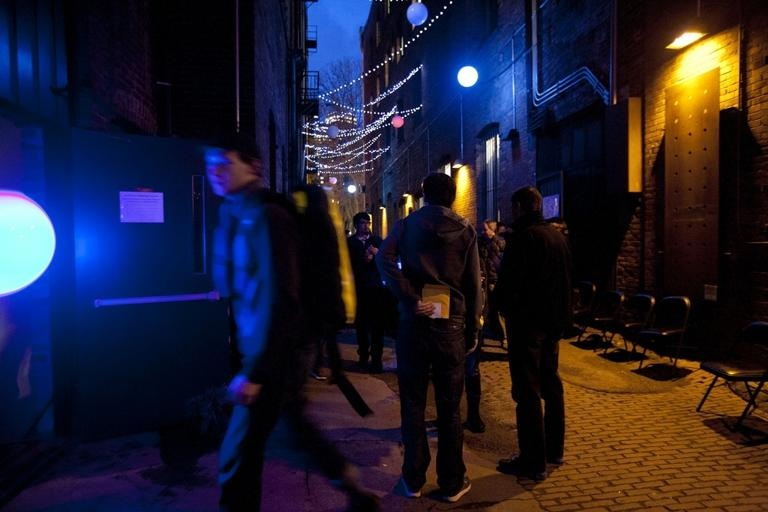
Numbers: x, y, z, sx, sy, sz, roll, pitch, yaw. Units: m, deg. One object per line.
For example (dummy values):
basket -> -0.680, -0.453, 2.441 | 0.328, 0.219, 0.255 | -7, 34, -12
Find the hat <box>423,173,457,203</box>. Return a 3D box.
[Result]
hat -> 0.626, -0.778, 7.408 | 0.390, 0.406, 0.295 | -6, 11, -34

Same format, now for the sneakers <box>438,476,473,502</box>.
sneakers -> 0.785, 2.625, 7.195 | 0.163, 0.186, 0.399 | 5, 12, 36
